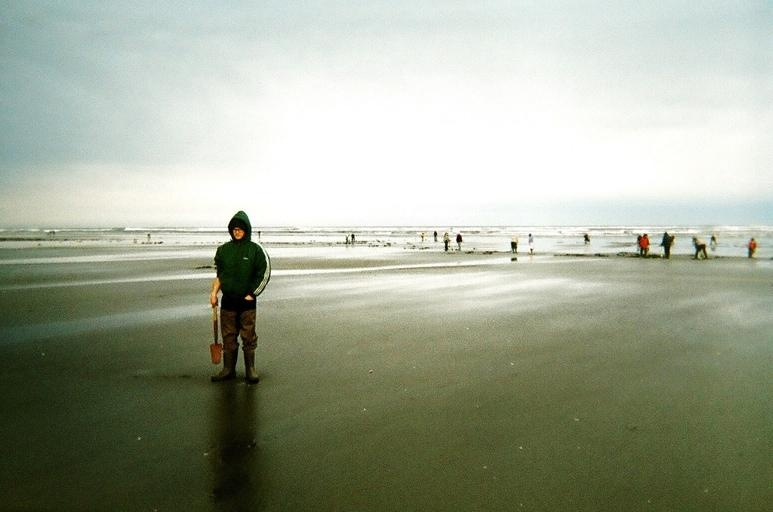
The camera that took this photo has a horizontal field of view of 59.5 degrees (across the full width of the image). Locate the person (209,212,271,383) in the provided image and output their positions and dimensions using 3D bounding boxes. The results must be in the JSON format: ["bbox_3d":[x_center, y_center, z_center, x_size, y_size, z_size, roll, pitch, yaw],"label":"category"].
[{"bbox_3d":[-2.891,0.711,13.157,1.085,3.326,1.577,-2,10,-12],"label":"person"}]
